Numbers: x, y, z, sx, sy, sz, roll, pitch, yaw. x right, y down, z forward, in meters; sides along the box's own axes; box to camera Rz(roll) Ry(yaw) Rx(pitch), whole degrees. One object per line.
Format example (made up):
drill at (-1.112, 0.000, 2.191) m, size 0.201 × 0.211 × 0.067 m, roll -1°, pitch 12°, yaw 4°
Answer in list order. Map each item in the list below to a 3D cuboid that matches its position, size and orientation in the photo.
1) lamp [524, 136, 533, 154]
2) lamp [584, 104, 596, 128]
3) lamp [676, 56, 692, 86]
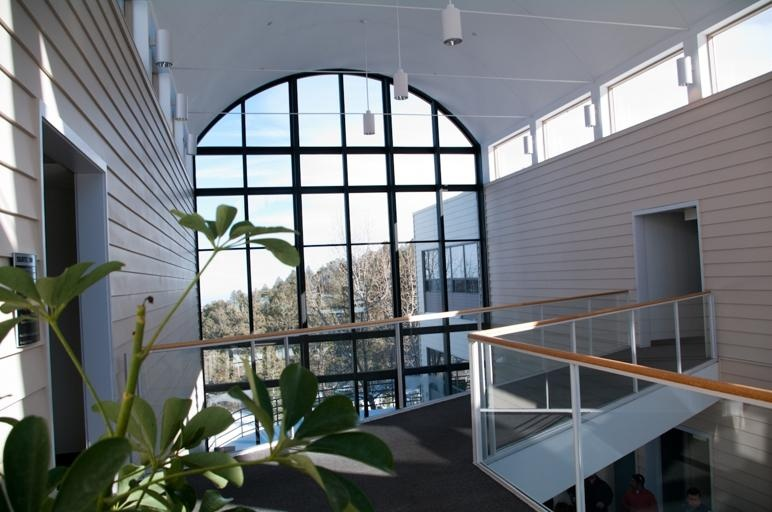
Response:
lamp at (2.708, -2.136, 9.974) m, size 0.154 × 0.353 × 0.310 m, roll -3°, pitch -5°, yaw 15°
lamp at (3.407, -2.368, 8.717) m, size 0.171 × 0.426 × 0.277 m, roll -4°, pitch -5°, yaw 22°
lamp at (4.007, -2.477, 6.992) m, size 0.171 × 0.438 × 0.491 m, roll -4°, pitch -5°, yaw 30°
